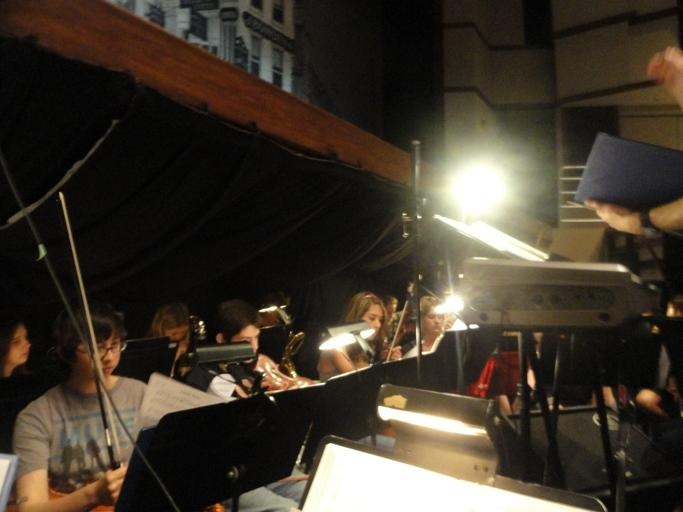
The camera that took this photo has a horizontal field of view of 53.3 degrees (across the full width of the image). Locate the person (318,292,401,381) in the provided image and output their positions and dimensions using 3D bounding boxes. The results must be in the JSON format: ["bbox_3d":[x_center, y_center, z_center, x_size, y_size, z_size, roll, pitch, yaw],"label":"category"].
[{"bbox_3d":[0.187,0.681,5.699,0.386,0.752,0.735,-11,-20,44],"label":"person"}]

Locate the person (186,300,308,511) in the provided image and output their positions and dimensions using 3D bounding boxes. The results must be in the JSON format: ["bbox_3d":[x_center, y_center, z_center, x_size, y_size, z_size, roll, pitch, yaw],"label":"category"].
[{"bbox_3d":[-0.513,1.007,4.585,0.471,1.347,1.039,-6,-17,33],"label":"person"}]
